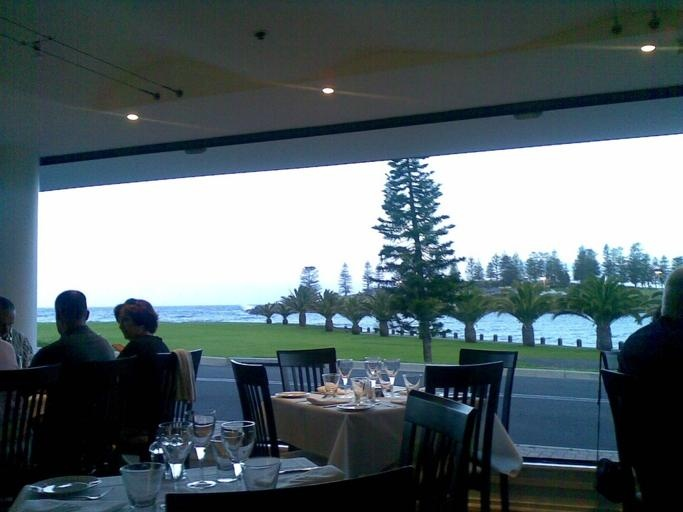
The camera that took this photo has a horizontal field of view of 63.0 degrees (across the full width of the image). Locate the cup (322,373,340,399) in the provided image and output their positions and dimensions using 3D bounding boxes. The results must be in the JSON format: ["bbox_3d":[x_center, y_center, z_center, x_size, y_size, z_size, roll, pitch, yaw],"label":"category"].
[{"bbox_3d":[-0.078,0.932,4.028,0.161,0.148,0.146,-2,-3,0],"label":"cup"}]

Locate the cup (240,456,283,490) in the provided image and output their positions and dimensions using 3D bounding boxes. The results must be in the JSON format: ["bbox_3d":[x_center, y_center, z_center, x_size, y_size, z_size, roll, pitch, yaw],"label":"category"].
[{"bbox_3d":[-0.300,0.795,2.040,0.135,0.083,0.126,-5,-13,-1],"label":"cup"}]

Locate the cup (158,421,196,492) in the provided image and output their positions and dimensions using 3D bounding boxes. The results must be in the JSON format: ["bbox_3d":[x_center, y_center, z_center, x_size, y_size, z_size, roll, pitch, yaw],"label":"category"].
[{"bbox_3d":[-0.684,0.850,2.319,0.177,0.369,0.154,5,-16,-18],"label":"cup"}]
